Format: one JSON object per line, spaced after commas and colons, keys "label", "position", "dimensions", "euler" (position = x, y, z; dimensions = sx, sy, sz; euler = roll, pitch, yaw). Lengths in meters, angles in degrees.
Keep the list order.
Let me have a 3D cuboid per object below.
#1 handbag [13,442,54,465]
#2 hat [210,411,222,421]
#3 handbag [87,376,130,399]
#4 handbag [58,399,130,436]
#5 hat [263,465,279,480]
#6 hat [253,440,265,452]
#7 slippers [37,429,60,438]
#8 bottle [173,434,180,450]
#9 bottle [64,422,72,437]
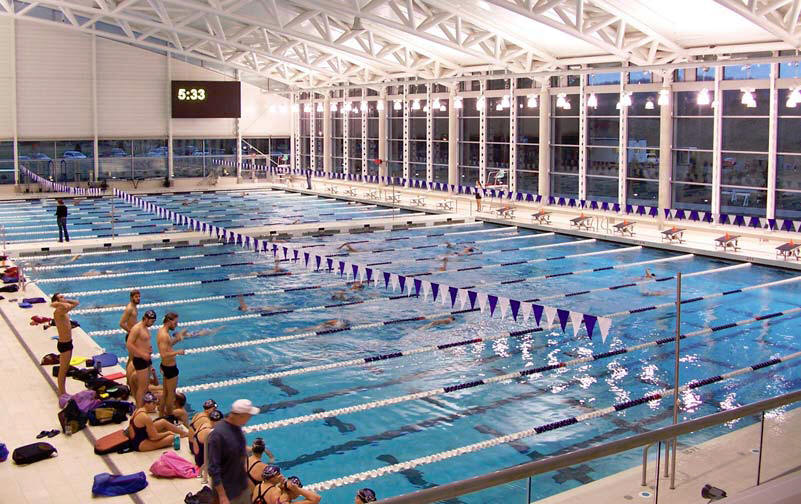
{"label": "handbag", "position": [-4.713, 2.574, 7.798], "dimensions": [0.350, 0.063, 0.252], "euler": [-6, 10, -32]}
{"label": "hat", "position": [-2.373, 2.102, 7.821], "dimensions": [0.143, 0.108, 0.154], "euler": [6, 22, 1]}
{"label": "handbag", "position": [-4.459, 2.058, 9.232], "dimensions": [0.507, 0.130, 0.334], "euler": [4, 9, -3]}
{"label": "handbag", "position": [-4.336, 2.315, 8.587], "dimensions": [0.835, 0.272, 0.477], "euler": [-4, 5, -26]}
{"label": "hat", "position": [-1.444, 2.424, 6.739], "dimensions": [0.185, 0.145, 0.189], "euler": [-4, 8, -13]}
{"label": "hat", "position": [-1.647, 2.231, 7.044], "dimensions": [0.119, 0.111, 0.139], "euler": [2, 13, -17]}
{"label": "slippers", "position": [-4.890, 2.513, 8.432], "dimensions": [0.281, 0.057, 0.185], "euler": [-5, 8, -24]}
{"label": "bottle", "position": [-3.021, 2.549, 8.178], "dimensions": [0.087, 0.152, 0.165], "euler": [-6, 9, -16]}
{"label": "bottle", "position": [-4.627, 2.470, 8.454], "dimensions": [0.119, 0.144, 0.160], "euler": [9, -14, -28]}
